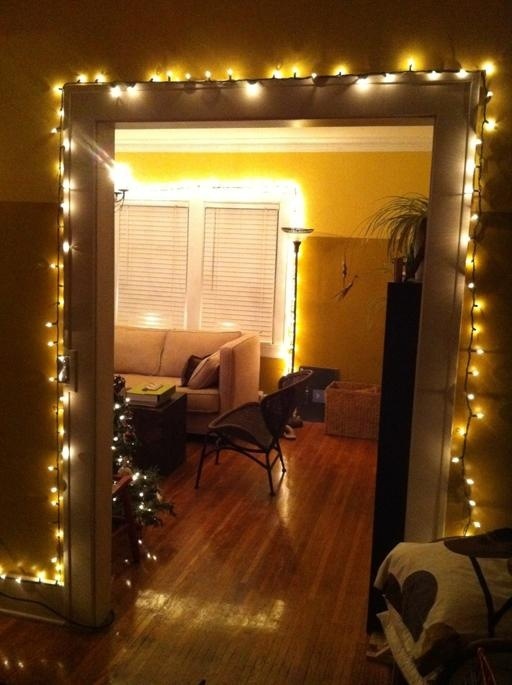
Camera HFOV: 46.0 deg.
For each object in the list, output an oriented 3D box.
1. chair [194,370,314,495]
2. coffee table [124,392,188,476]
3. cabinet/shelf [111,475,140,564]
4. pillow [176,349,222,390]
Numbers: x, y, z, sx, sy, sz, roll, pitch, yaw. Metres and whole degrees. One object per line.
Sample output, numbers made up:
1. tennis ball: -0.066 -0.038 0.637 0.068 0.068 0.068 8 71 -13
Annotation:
1. chair: -0.020 0.525 3.869 0.617 0.753 0.578 7 11 11
2. coffee table: -0.748 0.652 4.190 0.584 0.525 0.442 0 -18 -1
3. cabinet/shelf: -0.624 0.834 2.920 0.135 0.466 0.474 0 8 -12
4. pillow: -0.440 0.251 4.943 0.134 0.314 0.316 21 -7 -23
